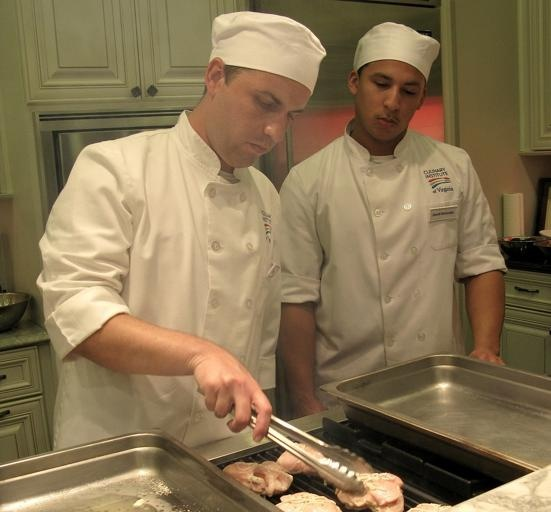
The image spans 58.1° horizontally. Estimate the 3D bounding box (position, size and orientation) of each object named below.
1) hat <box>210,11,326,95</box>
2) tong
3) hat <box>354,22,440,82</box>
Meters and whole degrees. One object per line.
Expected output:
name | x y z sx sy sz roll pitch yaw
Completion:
hat | -0.029 -0.446 1.095 0.220 0.111 0.188 12 7 38
tong | 0.001 0.285 0.836 0.339 0.050 0.080 22 25 40
hat | 0.390 -0.672 1.612 0.274 0.187 0.137 -2 7 8
